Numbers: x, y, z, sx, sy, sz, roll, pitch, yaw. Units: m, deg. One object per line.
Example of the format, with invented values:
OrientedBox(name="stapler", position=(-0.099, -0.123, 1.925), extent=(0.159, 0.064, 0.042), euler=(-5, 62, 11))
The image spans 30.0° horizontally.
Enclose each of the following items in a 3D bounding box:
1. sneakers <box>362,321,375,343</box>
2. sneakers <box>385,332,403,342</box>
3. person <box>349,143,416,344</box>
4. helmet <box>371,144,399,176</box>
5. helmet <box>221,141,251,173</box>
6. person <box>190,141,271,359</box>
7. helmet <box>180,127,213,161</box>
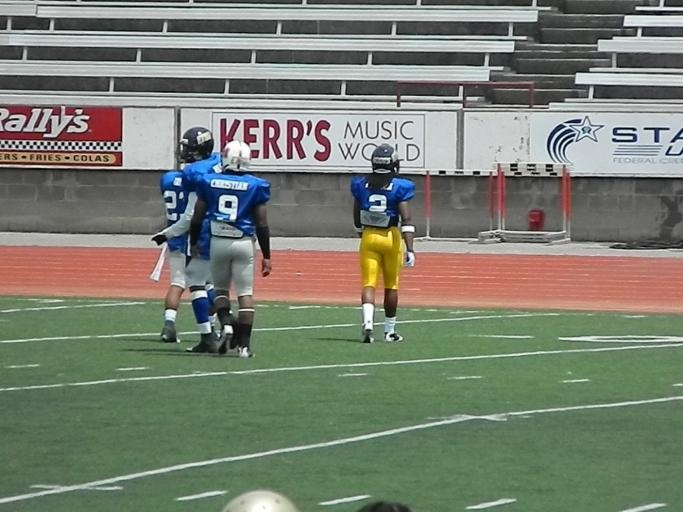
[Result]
OrientedBox(name="sneakers", position=(0.340, 0.875, 15.020), extent=(0.126, 0.251, 0.248), euler=(1, 1, 2))
OrientedBox(name="sneakers", position=(0.648, 0.939, 15.121), extent=(0.217, 0.108, 0.269), euler=(1, 1, 1))
OrientedBox(name="person", position=(0.511, -0.167, 15.190), extent=(0.757, 2.321, 0.596), euler=(1, 1, -3))
OrientedBox(name="helmet", position=(0.542, -1.174, 15.284), extent=(0.284, 0.280, 0.390), euler=(5, 12, 15))
OrientedBox(name="helmet", position=(-1.128, -1.063, 13.618), extent=(0.273, 0.331, 0.345), euler=(4, 17, -14))
OrientedBox(name="person", position=(-1.181, -0.084, 13.736), extent=(0.843, 2.326, 0.550), euler=(0, 1, -8))
OrientedBox(name="helmet", position=(-1.630, -1.273, 14.529), extent=(0.409, 0.355, 0.362), euler=(4, 5, 3))
